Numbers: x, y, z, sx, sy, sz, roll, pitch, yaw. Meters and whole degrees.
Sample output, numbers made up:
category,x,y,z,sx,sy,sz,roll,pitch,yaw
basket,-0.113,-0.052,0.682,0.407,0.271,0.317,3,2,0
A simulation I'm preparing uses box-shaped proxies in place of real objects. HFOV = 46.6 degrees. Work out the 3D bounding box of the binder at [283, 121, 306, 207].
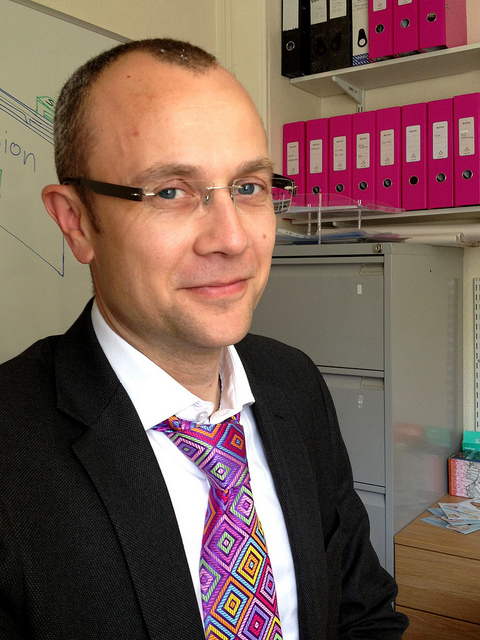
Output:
category,x,y,z,sx,sy,sz,roll,pitch,yaw
binder,0.216,-0.613,2.159,0.089,0.339,0.167,-1,3,0

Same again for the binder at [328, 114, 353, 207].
category,x,y,z,sx,sy,sz,roll,pitch,yaw
binder,0.378,-0.611,2.092,0.096,0.305,0.016,1,4,33

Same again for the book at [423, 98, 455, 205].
category,x,y,z,sx,sy,sz,roll,pitch,yaw
book,0.678,-0.565,1.893,0.096,0.349,0.027,1,4,38

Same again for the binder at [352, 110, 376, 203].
category,x,y,z,sx,sy,sz,roll,pitch,yaw
binder,0.453,-0.599,2.042,0.092,0.318,0.021,1,4,32

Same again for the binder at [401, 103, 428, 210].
category,x,y,z,sx,sy,sz,roll,pitch,yaw
binder,0.608,-0.569,1.940,0.091,0.357,0.036,0,4,21
